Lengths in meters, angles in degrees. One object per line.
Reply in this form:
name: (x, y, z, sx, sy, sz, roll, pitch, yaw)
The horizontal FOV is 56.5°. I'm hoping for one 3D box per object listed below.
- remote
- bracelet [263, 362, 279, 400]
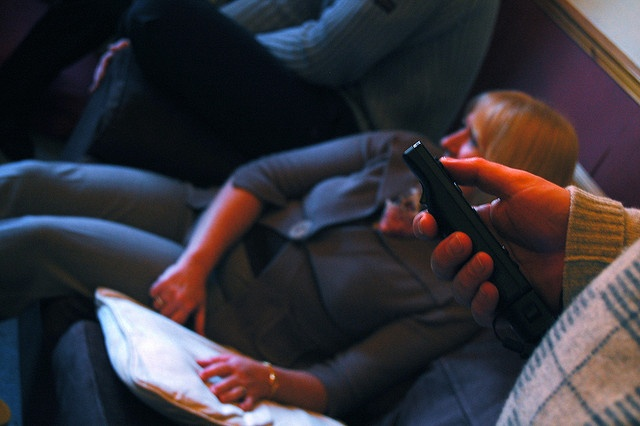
remote: (0.349, 0.068, 1.210, 0.576, 0.084, 0.187, 50, 21, -36)
bracelet: (-0.094, 0.349, 1.222, 0.017, 0.057, 0.045, -12, 26, -19)
